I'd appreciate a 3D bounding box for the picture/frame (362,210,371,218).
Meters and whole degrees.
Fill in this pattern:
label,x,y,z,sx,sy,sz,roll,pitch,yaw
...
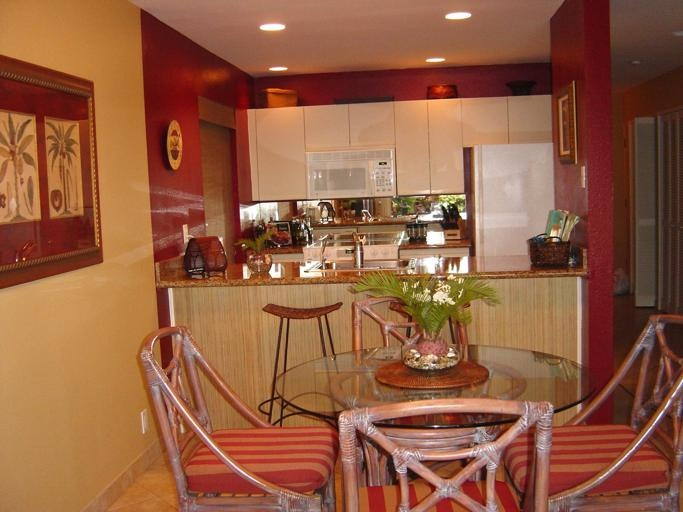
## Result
label,x,y,z,sx,sy,sz,roll,pitch,yaw
picture/frame,0.313,-0.521,6.655,0.024,0.089,0.089,-1,17,-33

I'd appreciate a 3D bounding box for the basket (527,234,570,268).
label,x,y,z,sx,sy,sz,roll,pitch,yaw
basket,1.518,-0.039,3.947,0.254,0.199,0.220,1,2,18

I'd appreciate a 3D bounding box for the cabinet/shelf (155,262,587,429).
label,x,y,z,sx,sy,sz,roll,pitch,yaw
cabinet/shelf,0.282,0.444,4.338,3.511,1.039,1.942,0,1,3

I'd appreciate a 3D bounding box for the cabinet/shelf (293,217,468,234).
label,x,y,z,sx,sy,sz,roll,pitch,yaw
cabinet/shelf,0.412,-0.362,6.632,1.613,0.183,0.132,-1,5,5
